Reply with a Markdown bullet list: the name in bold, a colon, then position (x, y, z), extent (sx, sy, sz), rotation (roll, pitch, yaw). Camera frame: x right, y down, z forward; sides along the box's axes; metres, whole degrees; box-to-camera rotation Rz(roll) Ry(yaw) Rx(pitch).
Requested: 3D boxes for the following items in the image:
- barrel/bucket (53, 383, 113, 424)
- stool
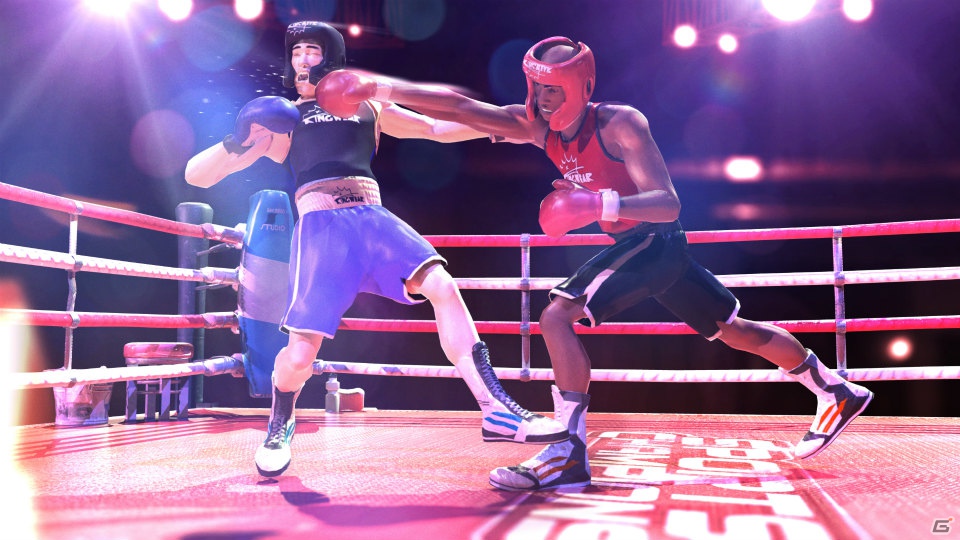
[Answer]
- **barrel/bucket**: position (-3.167, 1.050, 5.672), extent (0.430, 0.282, 0.423), rotation (-2, -5, 0)
- **stool**: position (-2.604, 0.917, 5.854), extent (0.595, 0.597, 0.561), rotation (3, -15, -21)
